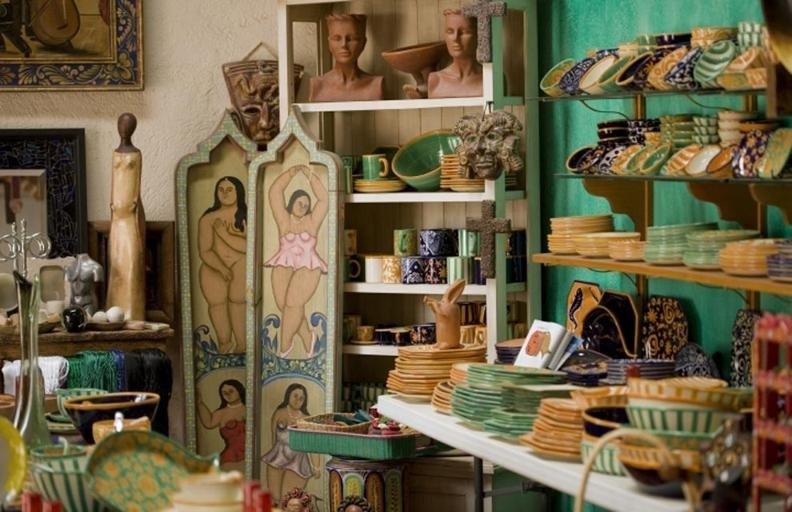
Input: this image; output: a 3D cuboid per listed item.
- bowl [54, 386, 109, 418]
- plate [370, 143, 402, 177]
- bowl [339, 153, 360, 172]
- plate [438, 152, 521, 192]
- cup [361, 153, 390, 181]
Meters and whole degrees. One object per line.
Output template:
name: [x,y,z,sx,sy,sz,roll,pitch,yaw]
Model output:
bowl: [-1.338,0.577,4.265,0.169,0.093,0.159,1,0,0]
plate: [-0.052,-0.553,5.886,0.124,0.140,0.177,8,26,28]
bowl: [-0.262,-0.521,5.819,0.101,0.092,0.104,-1,5,0]
plate: [0.469,-0.439,5.578,0.444,0.206,0.333,-2,-1,-28]
cup: [-0.110,-0.482,5.737,0.096,0.124,0.161,-3,9,-29]
